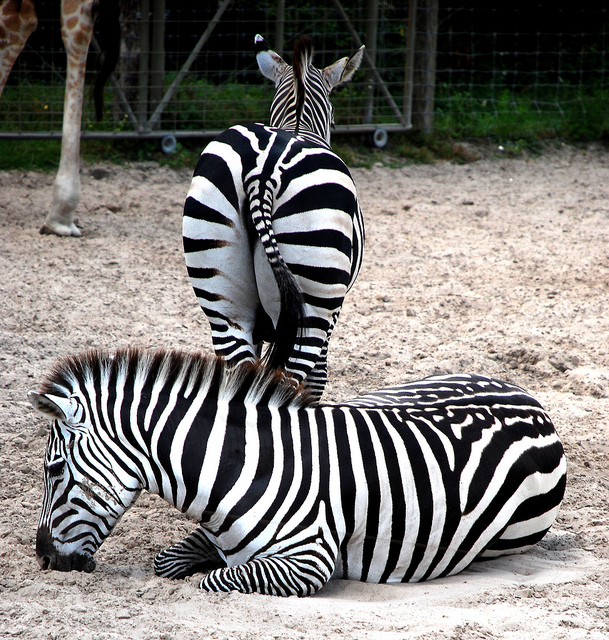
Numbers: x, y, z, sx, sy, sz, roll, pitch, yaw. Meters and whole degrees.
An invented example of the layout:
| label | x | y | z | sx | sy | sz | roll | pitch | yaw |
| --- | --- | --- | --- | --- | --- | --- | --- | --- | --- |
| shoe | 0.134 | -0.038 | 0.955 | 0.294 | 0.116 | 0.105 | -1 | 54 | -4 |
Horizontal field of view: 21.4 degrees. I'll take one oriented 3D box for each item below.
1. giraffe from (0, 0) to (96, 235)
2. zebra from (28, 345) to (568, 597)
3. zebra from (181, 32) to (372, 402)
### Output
| label | x | y | z | sx | sy | sz | roll | pitch | yaw |
| --- | --- | --- | --- | --- | --- | --- | --- | --- | --- |
| giraffe | -1.810 | -1.523 | 11.939 | 0.540 | 1.722 | 1.758 | 4 | 7 | 5 |
| zebra | -0.064 | 0.757 | 8.641 | 2.957 | 1.604 | 1.140 | 1 | -5 | -13 |
| zebra | -0.084 | -0.501 | 9.852 | 0.870 | 2.546 | 3.283 | 0 | 4 | 4 |
